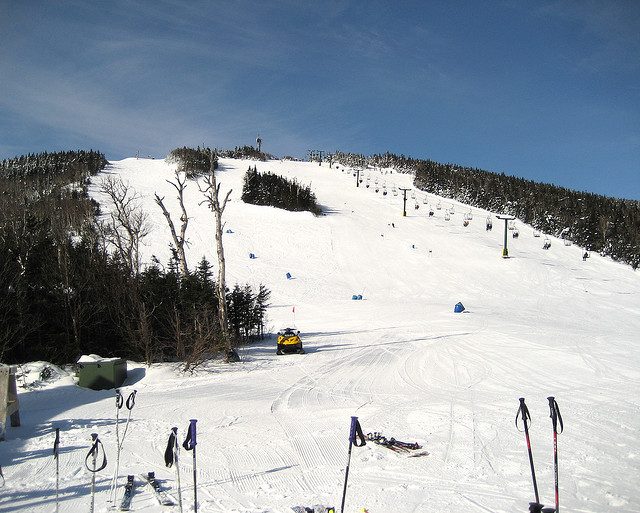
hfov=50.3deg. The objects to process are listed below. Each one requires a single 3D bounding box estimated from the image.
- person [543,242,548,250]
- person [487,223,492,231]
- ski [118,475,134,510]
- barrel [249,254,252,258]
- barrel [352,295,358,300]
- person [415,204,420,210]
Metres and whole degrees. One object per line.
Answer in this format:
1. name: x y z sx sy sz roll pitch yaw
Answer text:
1. person: 23.873 -1.097 72.132 0.419 0.557 1.032 5 12 19
2. person: 19.139 -3.307 76.474 0.240 0.937 0.667 2 4 3
3. ski: -5.604 6.931 19.895 0.166 0.189 0.901 2 34 -9
4. barrel: -6.342 -0.061 63.147 0.174 0.363 0.349 -5 7 -20
5. barrel: 2.726 3.197 53.011 0.429 0.263 0.336 7 12 27
6. person: 13.119 -6.698 91.566 0.518 0.785 0.785 0 -1 9
